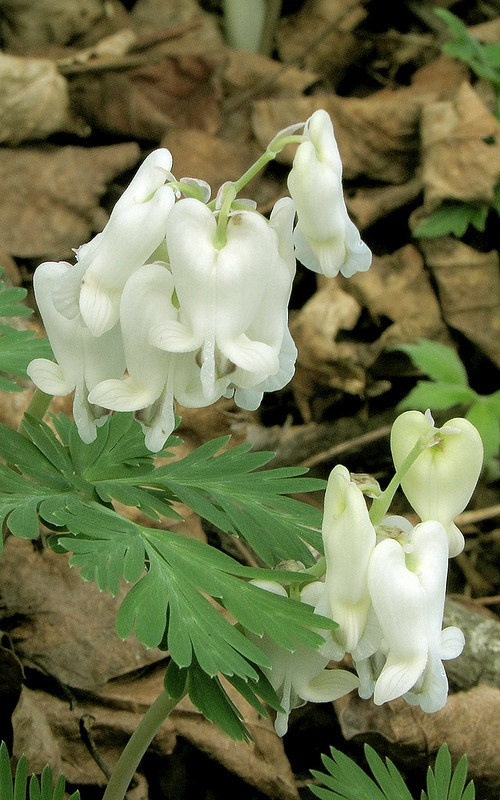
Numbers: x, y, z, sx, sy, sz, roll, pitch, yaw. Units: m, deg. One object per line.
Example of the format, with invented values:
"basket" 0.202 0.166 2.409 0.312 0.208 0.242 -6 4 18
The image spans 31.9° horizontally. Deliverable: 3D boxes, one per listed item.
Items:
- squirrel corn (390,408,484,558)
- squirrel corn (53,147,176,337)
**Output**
"squirrel corn" 0.406 0.178 1.851 0.204 0.309 0.143 2 13 30
"squirrel corn" -0.274 -0.311 1.904 0.184 0.170 0.443 28 84 34
